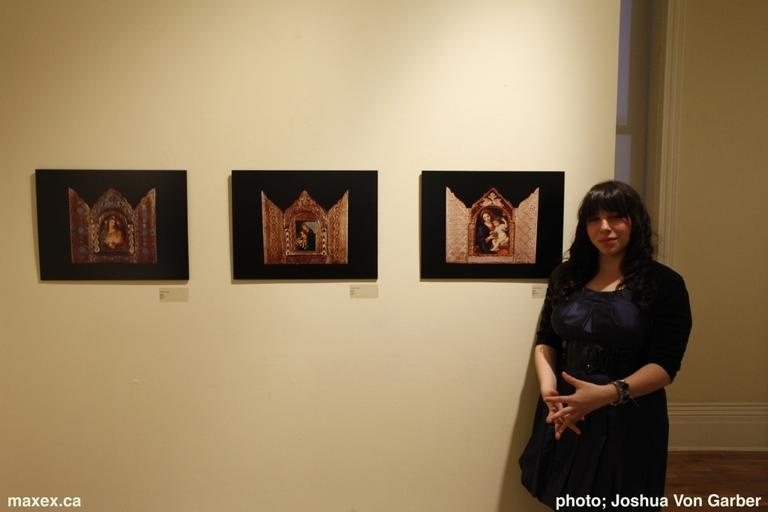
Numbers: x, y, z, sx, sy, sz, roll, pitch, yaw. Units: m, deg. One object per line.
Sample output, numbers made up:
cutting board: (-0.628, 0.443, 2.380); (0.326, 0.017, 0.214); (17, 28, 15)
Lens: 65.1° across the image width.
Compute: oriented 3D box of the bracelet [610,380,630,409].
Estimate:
bracelet: (1.748, 1.021, 4.461); (0.069, 0.184, 0.130); (5, 0, -5)
